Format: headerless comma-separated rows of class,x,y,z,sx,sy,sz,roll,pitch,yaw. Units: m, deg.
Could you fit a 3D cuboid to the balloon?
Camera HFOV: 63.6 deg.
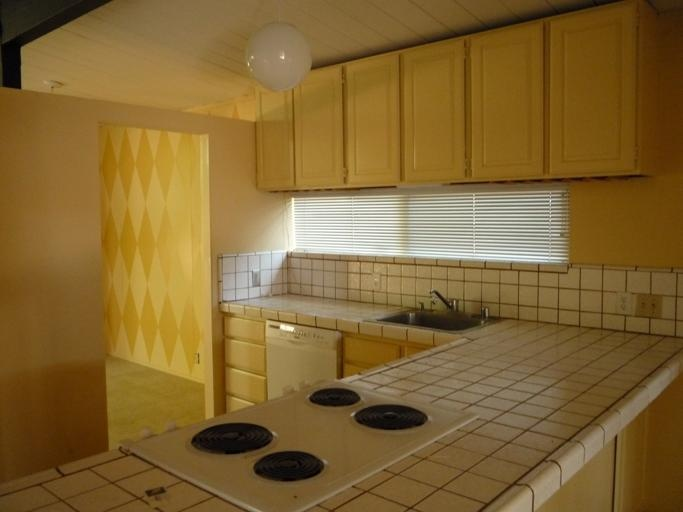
balloon,-0.300,-0.950,2.705,0.331,0.364,0.325,3,16,21

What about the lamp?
lamp,-0.306,-0.962,2.672,0.334,0.438,0.327,-4,7,-26
